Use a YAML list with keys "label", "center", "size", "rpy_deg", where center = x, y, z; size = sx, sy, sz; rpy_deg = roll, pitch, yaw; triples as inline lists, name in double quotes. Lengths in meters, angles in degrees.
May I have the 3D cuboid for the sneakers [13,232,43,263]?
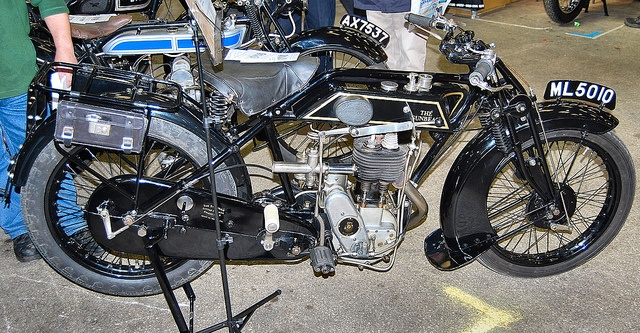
- label: "sneakers"
  center: [-2.948, 0.793, 5.025]
  size: [0.472, 0.196, 0.182]
  rpy_deg: [4, 15, 30]
